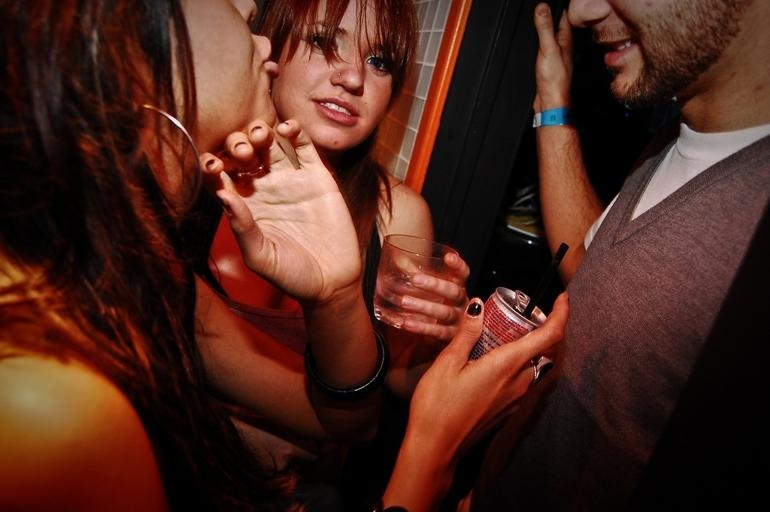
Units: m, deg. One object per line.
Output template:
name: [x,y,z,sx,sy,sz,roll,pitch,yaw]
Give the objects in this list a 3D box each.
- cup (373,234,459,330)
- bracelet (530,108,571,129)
cup: [0.042,0.057,1.622,0.204,0.272,0.257,9,12,-12]
bracelet: [0.557,-0.443,1.927,0.089,0.058,0.090,-4,5,-27]
